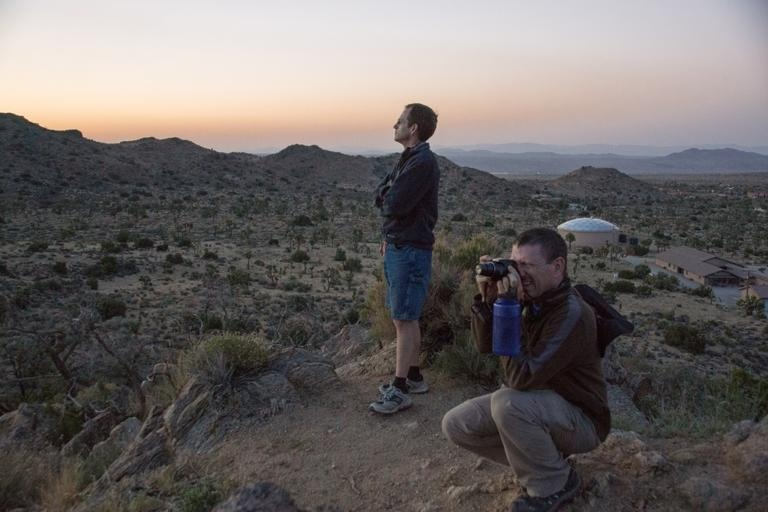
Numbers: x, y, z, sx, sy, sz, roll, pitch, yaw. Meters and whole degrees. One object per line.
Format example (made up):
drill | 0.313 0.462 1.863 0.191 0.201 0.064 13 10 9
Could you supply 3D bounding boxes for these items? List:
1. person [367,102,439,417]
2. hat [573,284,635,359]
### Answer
person | 0.281 0.059 6.637 0.855 3.929 0.947 3 14 -7
hat | 2.318 0.689 5.531 0.337 0.766 0.619 -45 -10 38
